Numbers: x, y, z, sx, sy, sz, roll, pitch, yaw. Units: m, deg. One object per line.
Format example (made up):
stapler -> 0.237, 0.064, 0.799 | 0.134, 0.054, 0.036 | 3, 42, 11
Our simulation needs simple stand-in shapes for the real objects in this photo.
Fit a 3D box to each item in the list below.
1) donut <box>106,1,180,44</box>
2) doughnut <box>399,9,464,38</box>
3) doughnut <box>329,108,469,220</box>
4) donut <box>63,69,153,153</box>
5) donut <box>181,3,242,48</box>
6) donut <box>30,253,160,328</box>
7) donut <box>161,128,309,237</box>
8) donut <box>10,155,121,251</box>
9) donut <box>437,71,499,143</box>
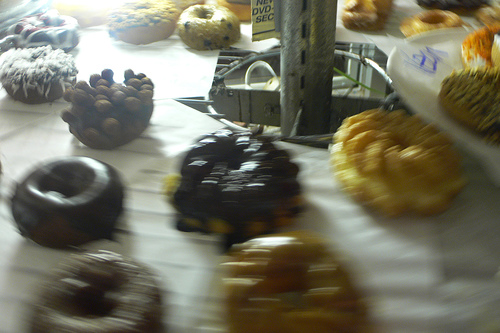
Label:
donut -> -0.191, -0.252, 0.806 | 0.111, 0.036, 0.172 | 13, 27, 6
doughnut -> 0.261, -0.208, 0.661 | 0.065, 0.018, 0.061 | 3, 22, 36
doughnut -> 0.132, -0.004, 0.425 | 0.093, 0.068, 0.110 | -16, 46, -12
donut -> -0.161, -0.068, 0.552 | 0.111, 0.079, 0.061 | -22, 51, -18
donut -> -0.083, -0.287, 0.937 | 0.120, 0.051, 0.125 | -6, 43, -4
donut -> -0.119, 0.102, 0.372 | 0.076, 0.023, 0.073 | 26, 47, 26
donut -> -0.012, 0.017, 0.423 | 0.130, 0.030, 0.100 | 8, 43, 6
donut -> -0.179, 0.024, 0.440 | 0.105, 0.032, 0.080 | 3, 47, -8
donut -> 0.189, -0.050, 0.406 | 0.062, 0.027, 0.054 | -1, 74, 5
